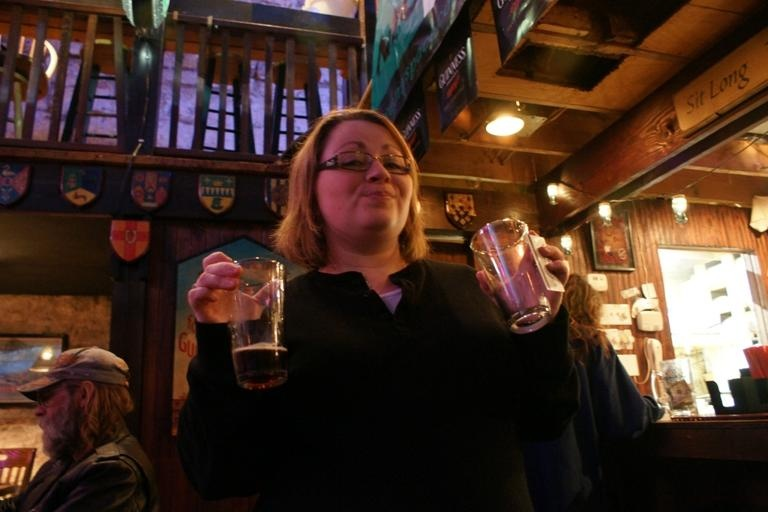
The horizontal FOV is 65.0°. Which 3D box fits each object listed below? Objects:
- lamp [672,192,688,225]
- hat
[{"bbox_3d":[2.896,-0.492,5.891,0.115,0.318,0.466,-6,-7,26],"label":"lamp"},{"bbox_3d":[-2.289,0.874,4.530,0.716,0.347,0.431,5,-16,-14],"label":"hat"}]
